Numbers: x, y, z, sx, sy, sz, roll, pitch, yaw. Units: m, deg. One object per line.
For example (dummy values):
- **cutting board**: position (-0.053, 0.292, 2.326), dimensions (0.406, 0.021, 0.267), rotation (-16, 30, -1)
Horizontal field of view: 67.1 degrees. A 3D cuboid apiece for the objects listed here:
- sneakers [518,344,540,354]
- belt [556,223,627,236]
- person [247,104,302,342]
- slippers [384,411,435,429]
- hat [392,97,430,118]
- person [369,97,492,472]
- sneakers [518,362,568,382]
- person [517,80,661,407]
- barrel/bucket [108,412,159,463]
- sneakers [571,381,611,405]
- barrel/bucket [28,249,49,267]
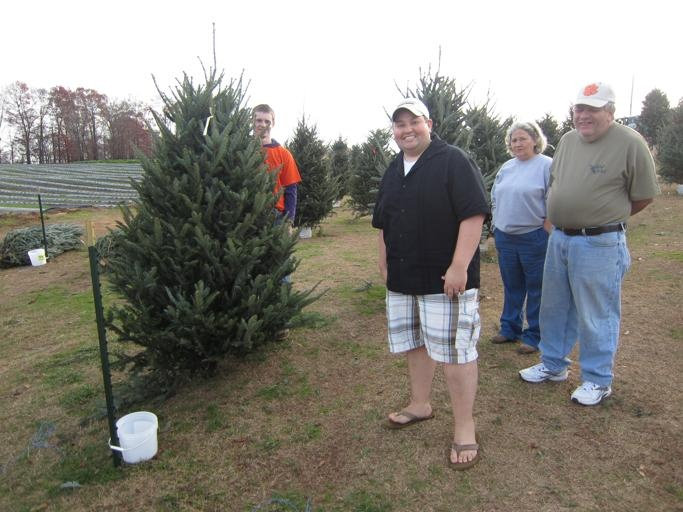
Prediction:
- **sneakers**: position (2.161, 1.062, 5.964), dimensions (0.198, 0.103, 0.104), rotation (7, 6, -4)
- **belt**: position (2.424, -0.256, 5.011), dimensions (0.614, 0.120, 0.196), rotation (1, 12, 20)
- **person**: position (-0.774, -0.520, 6.587), dimensions (0.521, 2.745, 1.412), rotation (-3, 10, -6)
- **slippers**: position (0.640, 1.517, 4.841), dimensions (0.392, 0.106, 0.171), rotation (0, 2, -10)
- **hat**: position (0.605, -1.285, 4.459), dimensions (0.265, 0.208, 0.392), rotation (2, 12, 21)
- **person**: position (0.798, 0.211, 4.504), dimensions (0.909, 3.098, 0.454), rotation (6, 13, 41)
- **sneakers**: position (2.087, 1.212, 5.496), dimensions (0.528, 0.265, 0.207), rotation (4, 0, 1)
- **person**: position (2.429, -0.150, 5.081), dimensions (1.015, 2.972, 0.548), rotation (4, 11, 33)
- **barrel/bucket**: position (-1.883, 1.636, 4.677), dimensions (0.394, 0.320, 0.372), rotation (3, 11, -1)
- **sneakers**: position (2.416, 1.332, 5.043), dimensions (0.427, 0.223, 0.168), rotation (1, 3, -13)
- **barrel/bucket**: position (-5.823, 0.034, 9.911), dimensions (0.267, 0.298, 0.327), rotation (7, 14, 43)
